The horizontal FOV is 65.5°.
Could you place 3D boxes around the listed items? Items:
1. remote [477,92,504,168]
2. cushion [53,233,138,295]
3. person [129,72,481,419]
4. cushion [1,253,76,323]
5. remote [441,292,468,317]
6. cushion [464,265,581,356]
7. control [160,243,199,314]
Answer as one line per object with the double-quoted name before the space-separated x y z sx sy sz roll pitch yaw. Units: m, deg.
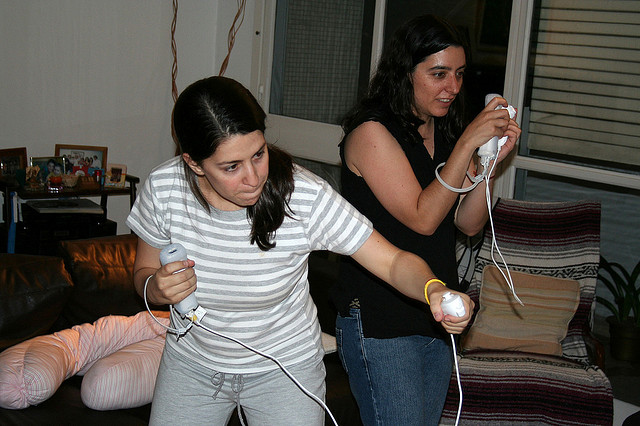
"remote" 0.599 -0.282 1.806 0.081 0.302 0.102 13 11 20
"cushion" -1.092 0.275 2.512 0.232 0.321 0.419 2 -7 -27
"person" -0.153 0.155 1.564 0.969 1.116 0.312 5 13 14
"cushion" -1.208 0.307 2.118 0.270 0.286 0.132 -9 11 -25
"remote" 0.381 0.245 1.422 0.061 0.071 0.060 -27 20 -37
"cushion" 1.180 0.574 2.841 0.465 0.494 0.149 5 -22 20
"control" -0.442 0.176 1.543 0.140 0.118 0.299 -16 18 -16
